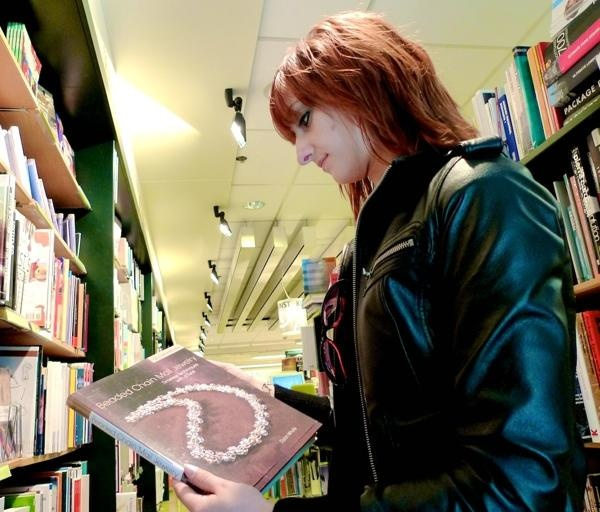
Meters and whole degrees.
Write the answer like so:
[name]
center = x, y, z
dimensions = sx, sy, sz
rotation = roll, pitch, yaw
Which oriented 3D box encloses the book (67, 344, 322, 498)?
[book]
center = -0.171, 0.204, 0.742
dimensions = 0.311, 0.044, 0.240
rotation = 27, 19, 26
